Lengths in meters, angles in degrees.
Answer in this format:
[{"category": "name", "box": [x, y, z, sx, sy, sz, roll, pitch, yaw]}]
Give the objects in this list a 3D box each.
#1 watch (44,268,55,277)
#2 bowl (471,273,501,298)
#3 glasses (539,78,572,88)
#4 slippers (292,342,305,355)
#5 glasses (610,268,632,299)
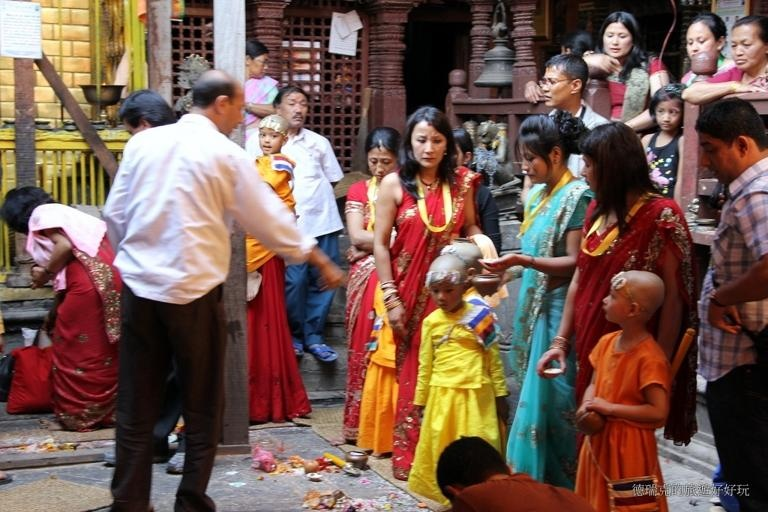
[{"category": "watch", "box": [-2.528, 0.120, 5.536, 0.075, 0.045, 0.071, 3, 1, -34]}, {"category": "bowl", "box": [0.606, 0.176, 4.311, 0.153, 0.091, 0.143, -2, 2, 0]}, {"category": "glasses", "box": [1.274, -1.323, 5.501, 0.216, 0.071, 0.078, 6, 9, 40]}, {"category": "slippers", "box": [-0.724, 0.779, 6.150, 0.137, 0.075, 0.308, 0, -5, -1]}, {"category": "glasses", "box": [1.146, 0.133, 3.590, 0.110, 0.114, 0.096, -2, 17, 3]}]
